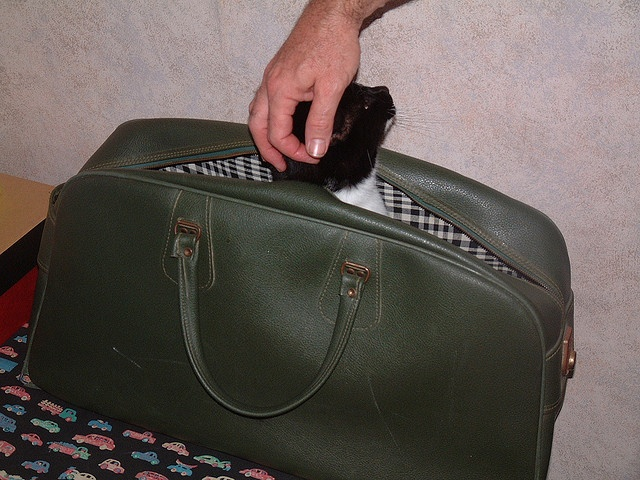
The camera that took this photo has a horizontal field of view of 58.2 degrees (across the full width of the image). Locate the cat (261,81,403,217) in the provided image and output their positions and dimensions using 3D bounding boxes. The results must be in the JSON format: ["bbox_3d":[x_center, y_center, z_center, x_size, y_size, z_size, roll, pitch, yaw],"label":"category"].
[{"bbox_3d":[0.010,-0.163,0.876,0.199,0.219,0.133,0,43,-2],"label":"cat"}]
